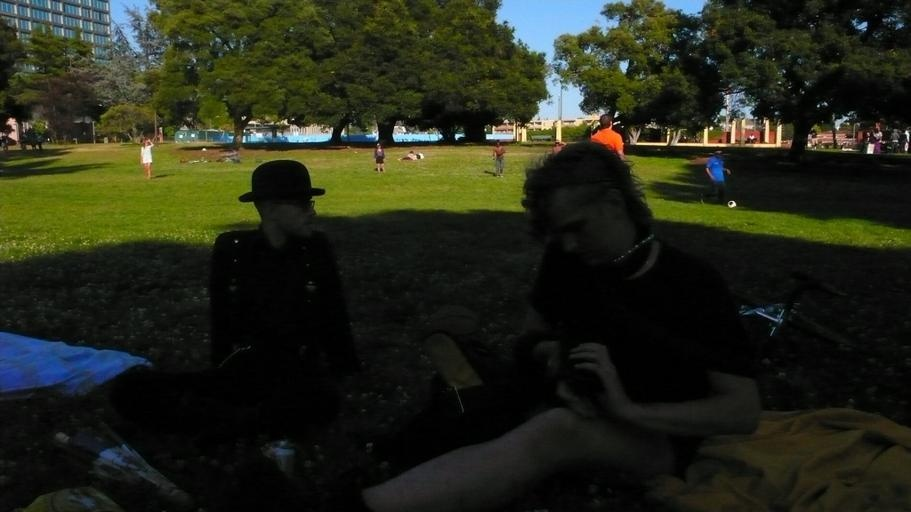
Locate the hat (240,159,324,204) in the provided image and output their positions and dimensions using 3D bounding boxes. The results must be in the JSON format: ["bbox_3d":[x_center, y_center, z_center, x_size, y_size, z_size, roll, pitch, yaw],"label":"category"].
[{"bbox_3d":[-1.416,-0.606,5.438,0.433,0.167,0.495,-3,4,8],"label":"hat"}]
